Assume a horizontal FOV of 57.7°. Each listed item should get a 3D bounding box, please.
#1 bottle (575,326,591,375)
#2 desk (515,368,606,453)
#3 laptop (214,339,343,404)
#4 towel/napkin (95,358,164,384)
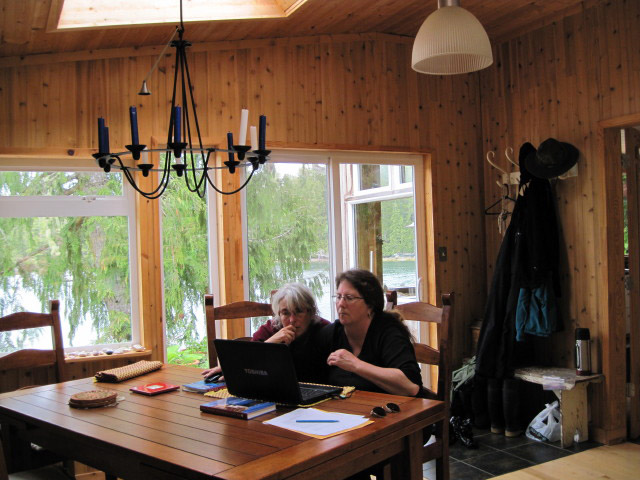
[{"bbox_3d":[2.146,0.900,4.719,0.127,0.369,0.236,-1,10,23],"label":"bottle"},{"bbox_3d":[2.194,1.439,4.853,0.382,0.440,0.776,10,2,24],"label":"desk"},{"bbox_3d":[-0.209,0.637,2.853,0.551,0.280,0.487,-1,-6,23],"label":"laptop"},{"bbox_3d":[-1.122,0.778,3.424,0.137,0.038,0.239,2,4,39],"label":"towel/napkin"}]
